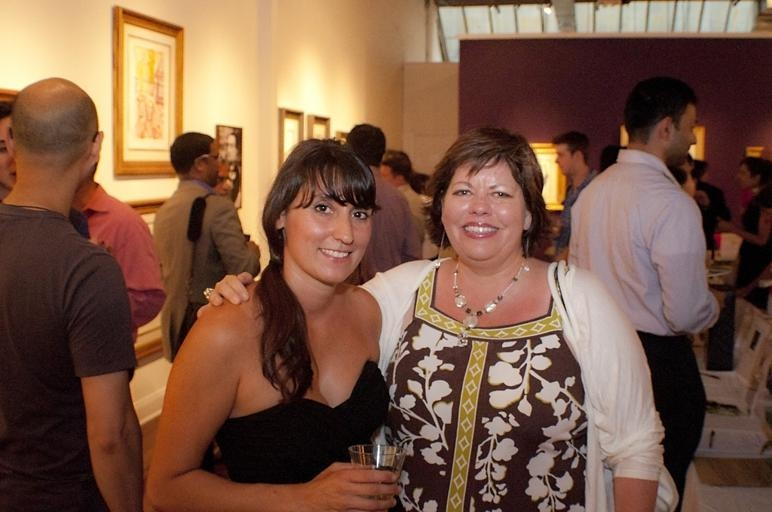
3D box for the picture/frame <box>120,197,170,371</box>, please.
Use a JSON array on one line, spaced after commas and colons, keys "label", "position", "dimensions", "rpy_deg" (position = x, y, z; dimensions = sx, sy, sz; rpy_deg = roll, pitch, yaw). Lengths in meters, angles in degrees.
[{"label": "picture/frame", "position": [-2.139, 0.244, 5.023], "dimensions": [0.304, 1.218, 1.209], "rpy_deg": [-3, 5, -41]}]
